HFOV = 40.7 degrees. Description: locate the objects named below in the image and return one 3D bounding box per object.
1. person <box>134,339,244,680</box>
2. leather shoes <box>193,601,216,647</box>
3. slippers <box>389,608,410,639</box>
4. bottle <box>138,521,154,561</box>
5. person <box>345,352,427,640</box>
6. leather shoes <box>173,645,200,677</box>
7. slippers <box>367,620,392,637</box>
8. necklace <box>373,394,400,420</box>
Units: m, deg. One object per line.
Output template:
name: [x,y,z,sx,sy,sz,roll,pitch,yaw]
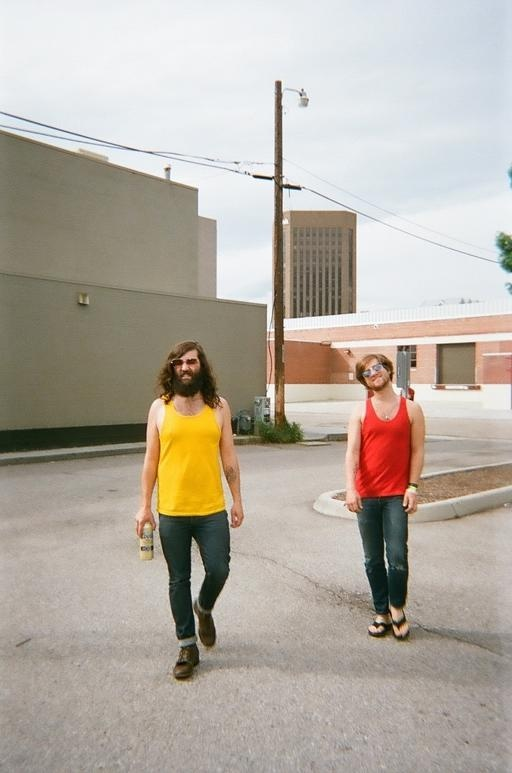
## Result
person: [-0.332,0.636,3.519,0.537,1.683,0.501,-2,6,-7]
leather shoes: [-0.288,1.324,3.758,0.083,0.306,0.113,-8,9,5]
slippers: [0.832,1.353,3.957,0.114,0.182,0.148,-2,6,0]
bottle: [-0.548,0.795,3.484,0.058,0.203,0.127,-2,6,-4]
person: [0.751,0.639,4.048,0.445,1.618,0.394,0,6,15]
leather shoes: [-0.348,1.366,3.432,0.102,0.143,0.239,-2,7,5]
slippers: [0.717,1.405,3.992,0.131,0.072,0.127,-2,7,5]
necklace: [0.760,0.128,4.016,0.085,0.155,0.051,0,-6,5]
